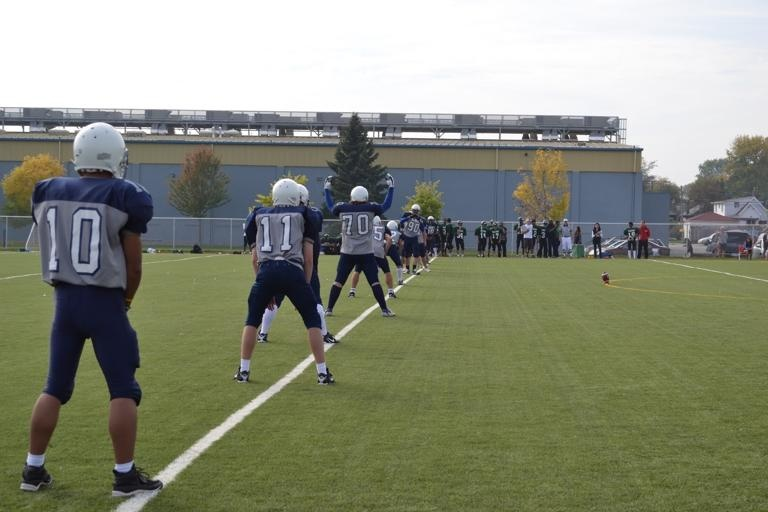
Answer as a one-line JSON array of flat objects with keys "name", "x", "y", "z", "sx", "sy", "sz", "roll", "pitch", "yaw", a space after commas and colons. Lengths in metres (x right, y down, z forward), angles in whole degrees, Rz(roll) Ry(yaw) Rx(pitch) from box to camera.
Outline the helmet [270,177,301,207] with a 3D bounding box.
[{"name": "helmet", "x": -1.257, "y": -0.809, "z": 11.194, "sx": 0.278, "sy": 0.301, "sz": 0.384, "roll": 2, "pitch": 15, "yaw": 6}]

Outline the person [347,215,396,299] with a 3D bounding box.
[{"name": "person", "x": -0.186, "y": -0.010, "z": 18.794, "sx": 1.099, "sy": 1.911, "sz": 0.951, "roll": 2, "pitch": 13, "yaw": -5}]

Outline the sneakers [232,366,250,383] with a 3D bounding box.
[{"name": "sneakers", "x": -1.781, "y": 1.490, "z": 10.931, "sx": 0.186, "sy": 0.196, "sz": 0.461, "roll": 1, "pitch": 2, "yaw": -9}]

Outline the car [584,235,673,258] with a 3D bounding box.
[{"name": "car", "x": 12.409, "y": -0.342, "z": 42.604, "sx": 3.786, "sy": 1.024, "sz": 1.747, "roll": 2, "pitch": 1, "yaw": -5}]

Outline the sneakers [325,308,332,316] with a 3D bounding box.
[{"name": "sneakers", "x": -0.987, "y": 1.019, "z": 15.715, "sx": 0.097, "sy": 0.078, "sz": 0.130, "roll": 1, "pitch": 6, "yaw": -3}]

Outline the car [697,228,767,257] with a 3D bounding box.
[{"name": "car", "x": 17.821, "y": -0.636, "z": 44.140, "sx": 3.541, "sy": 1.259, "sz": 1.620, "roll": 2, "pitch": 2, "yaw": 4}]

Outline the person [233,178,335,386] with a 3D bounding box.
[{"name": "person", "x": -1.259, "y": 0.292, "z": 11.042, "sx": 1.235, "sy": 2.462, "sz": 1.068, "roll": -1, "pitch": 9, "yaw": -5}]

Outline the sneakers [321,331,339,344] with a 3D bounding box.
[{"name": "sneakers", "x": -0.808, "y": 1.249, "z": 13.195, "sx": 0.288, "sy": 0.125, "sz": 0.100, "roll": 2, "pitch": 3, "yaw": -43}]

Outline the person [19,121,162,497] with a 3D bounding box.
[{"name": "person", "x": -2.773, "y": 0.495, "z": 8.222, "sx": 1.230, "sy": 3.367, "sz": 0.868, "roll": -1, "pitch": 9, "yaw": -6}]

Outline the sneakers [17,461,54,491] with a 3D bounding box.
[{"name": "sneakers", "x": -3.270, "y": 2.074, "z": 8.264, "sx": 0.143, "sy": 0.178, "sz": 0.397, "roll": 2, "pitch": -3, "yaw": 10}]

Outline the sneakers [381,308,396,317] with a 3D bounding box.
[{"name": "sneakers", "x": 0.110, "y": 1.031, "z": 15.872, "sx": 0.288, "sy": 0.122, "sz": 0.099, "roll": 1, "pitch": 3, "yaw": -40}]

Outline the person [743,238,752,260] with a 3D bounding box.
[{"name": "person", "x": 16.052, "y": -0.283, "z": 38.397, "sx": 0.254, "sy": 0.937, "sz": 0.830, "roll": 3, "pitch": 9, "yaw": 18}]

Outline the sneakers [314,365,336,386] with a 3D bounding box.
[{"name": "sneakers", "x": -0.714, "y": 1.500, "z": 10.853, "sx": 0.112, "sy": 0.143, "sz": 0.321, "roll": 2, "pitch": 1, "yaw": 14}]
